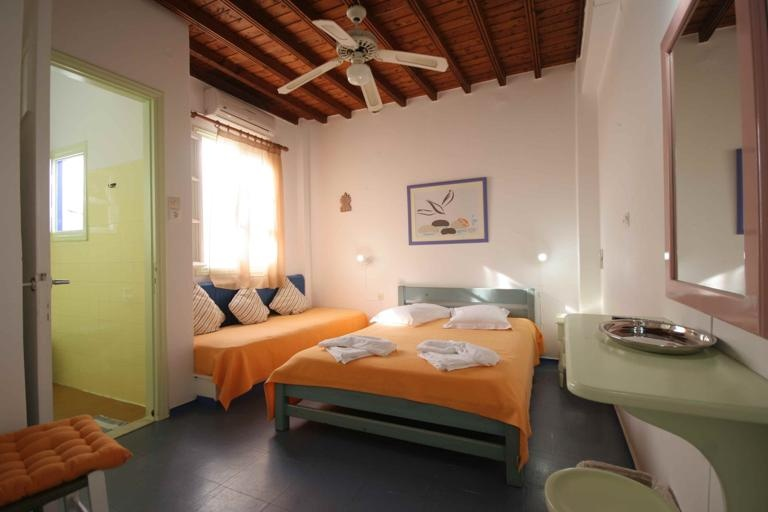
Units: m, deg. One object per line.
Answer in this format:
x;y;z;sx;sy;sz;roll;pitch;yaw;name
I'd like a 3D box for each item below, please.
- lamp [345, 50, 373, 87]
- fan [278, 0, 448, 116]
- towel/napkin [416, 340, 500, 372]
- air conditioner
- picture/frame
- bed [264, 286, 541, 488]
-0.176;-1.397;3.663;0.177;0.210;0.238;-1;12;1;lamp
-0.213;-1.446;3.615;1.024;0.499;1.026;-2;-1;4;fan
0.553;0.726;3.691;0.541;0.086;0.519;-4;13;-14;towel/napkin
-1.554;-1.543;5.360;0.221;0.282;0.775;14;1;39;air conditioner
0.775;-0.507;5.573;0.801;0.624;0.032;1;3;24;picture/frame
0.457;1.132;4.251;1.401;0.714;1.702;0;4;24;bed
